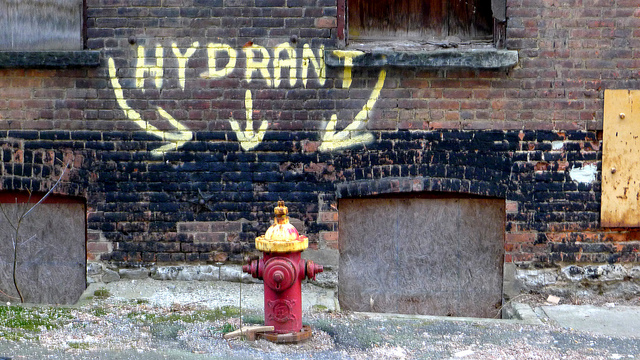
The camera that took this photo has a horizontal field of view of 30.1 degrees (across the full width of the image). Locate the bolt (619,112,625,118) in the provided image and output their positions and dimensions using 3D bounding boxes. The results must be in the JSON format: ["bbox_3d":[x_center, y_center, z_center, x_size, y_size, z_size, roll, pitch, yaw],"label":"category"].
[{"bbox_3d":[4.699,-1.017,18.507,0.056,0.065,0.039,3,-5,-1],"label":"bolt"}]

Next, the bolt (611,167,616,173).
[{"bbox_3d":[4.576,-0.181,18.528,0.057,0.077,0.028,0,-10,8],"label":"bolt"}]

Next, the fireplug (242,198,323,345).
[{"bbox_3d":[-0.550,1.351,17.541,1.206,1.985,0.986,0,9,3],"label":"fireplug"}]
